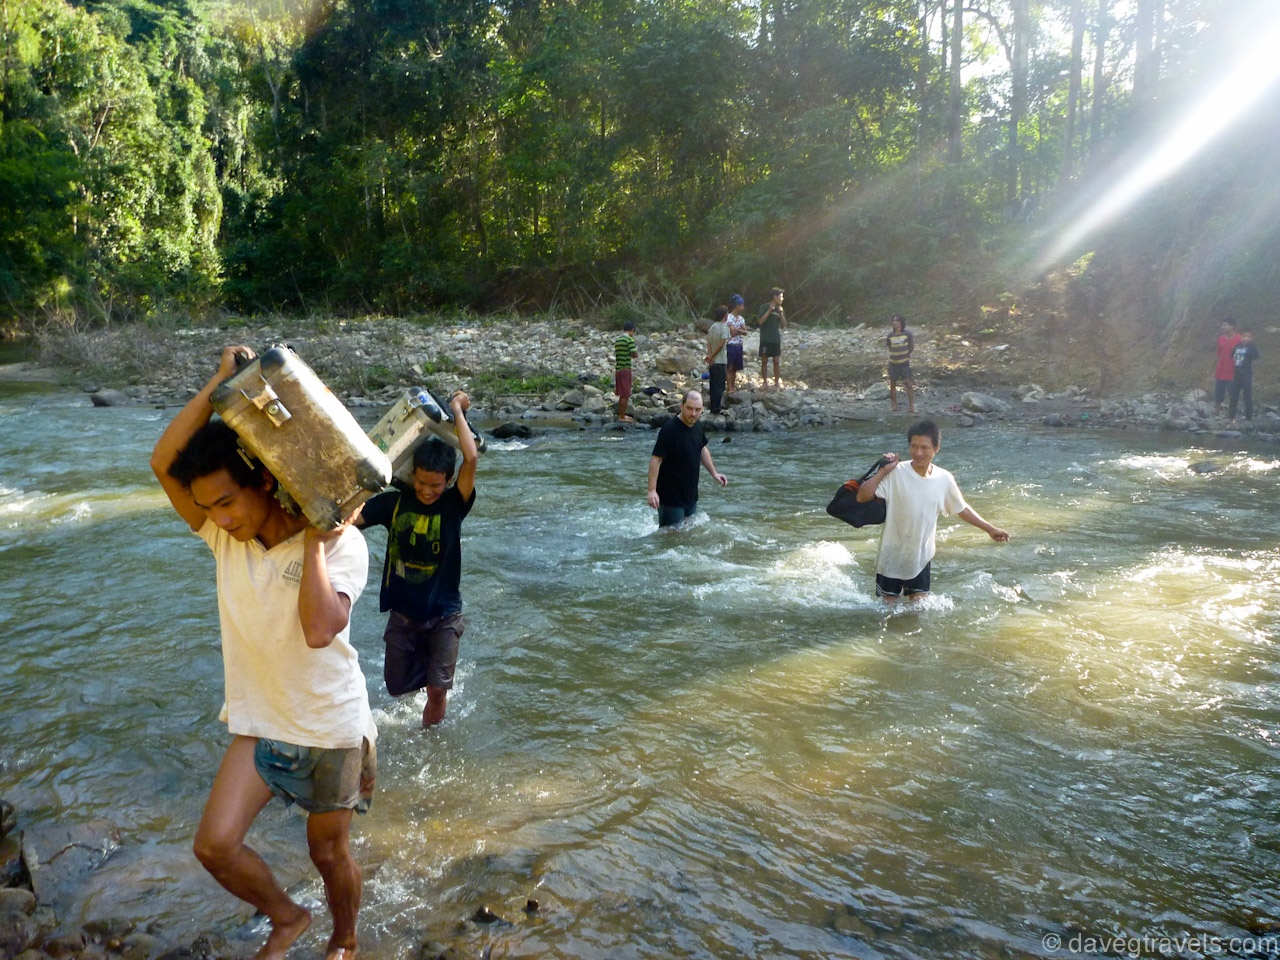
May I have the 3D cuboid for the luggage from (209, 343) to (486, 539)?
[{"bbox_3d":[-1.439,-0.265,5.047,0.748,0.843,2.298,-1,8,-2],"label":"luggage"}]

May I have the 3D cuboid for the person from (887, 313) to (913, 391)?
[{"bbox_3d":[5.720,-2.700,21.327,0.499,1.696,1.310,2,9,14],"label":"person"}]

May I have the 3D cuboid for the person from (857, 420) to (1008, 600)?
[{"bbox_3d":[2.372,0.311,8.387,0.988,1.655,0.762,1,9,9],"label":"person"}]

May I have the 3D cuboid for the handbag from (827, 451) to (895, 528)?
[{"bbox_3d":[1.988,0.083,8.370,0.493,0.707,0.334,16,14,-38],"label":"handbag"}]

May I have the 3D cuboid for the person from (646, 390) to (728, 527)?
[{"bbox_3d":[0.484,-0.206,10.851,0.729,1.556,0.915,0,9,5],"label":"person"}]
